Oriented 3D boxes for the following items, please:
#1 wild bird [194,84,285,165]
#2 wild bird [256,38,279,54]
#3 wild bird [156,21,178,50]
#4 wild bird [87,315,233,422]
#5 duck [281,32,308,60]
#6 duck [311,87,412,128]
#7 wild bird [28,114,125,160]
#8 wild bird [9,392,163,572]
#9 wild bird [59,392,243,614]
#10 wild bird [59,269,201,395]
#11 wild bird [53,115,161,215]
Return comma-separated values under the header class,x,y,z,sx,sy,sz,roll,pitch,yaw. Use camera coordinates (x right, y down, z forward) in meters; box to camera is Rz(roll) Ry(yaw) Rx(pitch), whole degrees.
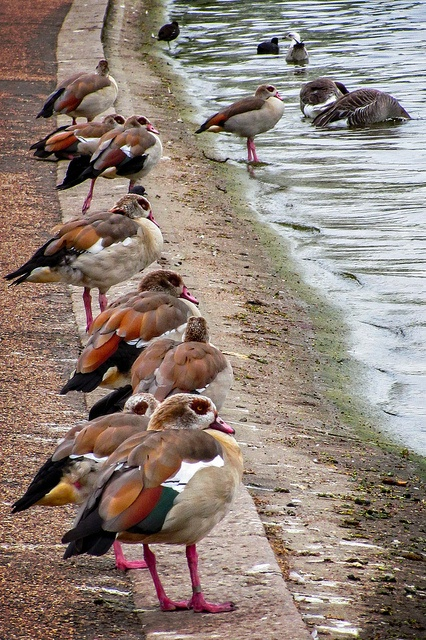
class,x,y,z,sx,sy,sz,roll,pitch,yaw
wild bird,0.441,-2.999,15.031,1.453,1.061,0.601,2,11,11
wild bird,1.322,-6.481,23.562,0.574,0.331,0.321,-4,18,-42
wild bird,-0.963,-6.702,23.275,0.407,0.568,0.769,19,29,13
wild bird,-0.285,0.312,5.532,0.519,0.564,0.929,13,17,40
duck,1.973,-6.135,22.553,0.438,0.604,1.100,-10,6,1
duck,2.549,-3.676,17.265,2.178,0.741,0.610,-2,18,7
wild bird,-1.458,-2.066,10.557,0.962,0.307,0.566,-25,26,-18
wild bird,-0.607,0.687,4.524,1.047,0.663,0.477,-2,12,-32
wild bird,-0.272,0.815,4.429,0.614,0.929,1.187,-15,-15,36
wild bird,-0.527,0.074,6.256,0.593,0.726,1.115,15,22,36
wild bird,-0.984,-1.607,9.981,1.203,0.849,0.563,-13,19,-26
